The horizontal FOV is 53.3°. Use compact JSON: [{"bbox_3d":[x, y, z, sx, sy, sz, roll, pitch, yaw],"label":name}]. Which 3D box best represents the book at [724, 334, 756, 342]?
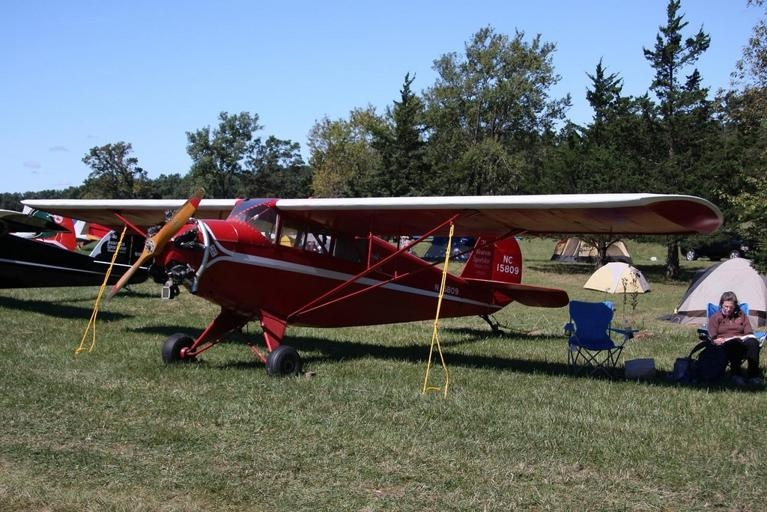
[{"bbox_3d":[5.966,1.362,12.709,0.460,0.138,0.094,5,-2,10],"label":"book"}]

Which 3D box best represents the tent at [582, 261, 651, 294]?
[{"bbox_3d":[7.893,0.755,25.031,1.472,0.622,1.716,-5,9,-26],"label":"tent"}]

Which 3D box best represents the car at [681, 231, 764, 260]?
[{"bbox_3d":[13.249,-0.437,29.757,1.114,0.986,2.344,-5,8,-44],"label":"car"}]

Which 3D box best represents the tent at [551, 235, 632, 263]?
[{"bbox_3d":[10.016,-0.253,37.612,1.764,0.974,2.716,0,-1,-25],"label":"tent"}]

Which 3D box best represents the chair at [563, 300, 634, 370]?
[{"bbox_3d":[3.733,1.406,13.221,1.159,1.241,0.889,1,1,12],"label":"chair"}]

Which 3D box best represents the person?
[{"bbox_3d":[5.960,1.372,12.888,0.888,1.503,0.568,4,-3,25],"label":"person"}]
